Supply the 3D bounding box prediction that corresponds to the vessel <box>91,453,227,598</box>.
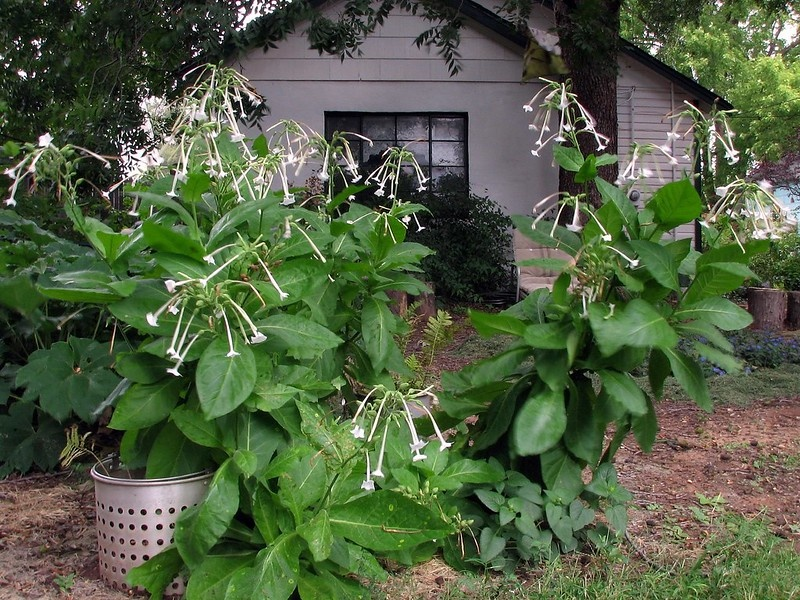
[{"bbox_3d":[-0.890,0.819,2.034,0.493,0.442,0.469,0,-1,-4],"label":"vessel"}]
